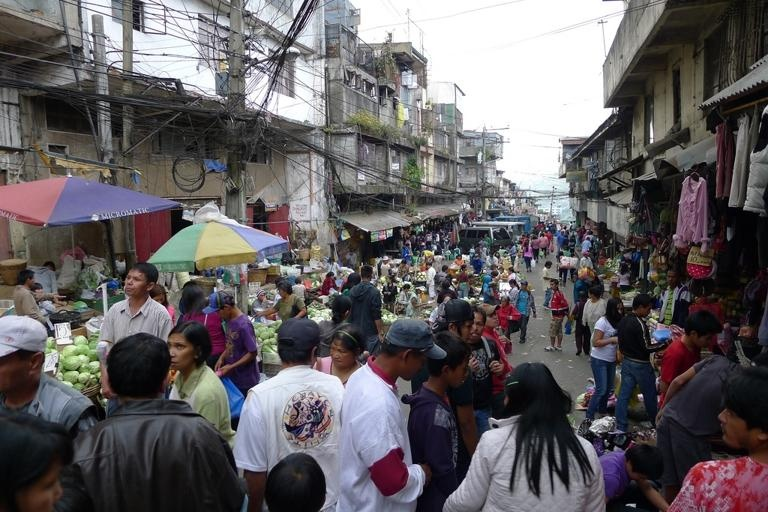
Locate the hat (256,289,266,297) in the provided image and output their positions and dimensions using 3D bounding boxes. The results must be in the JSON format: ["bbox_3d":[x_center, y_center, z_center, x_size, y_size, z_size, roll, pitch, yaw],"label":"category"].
[{"bbox_3d":[-2.730,0.830,14.425,0.182,0.214,0.217,-2,-4,-16],"label":"hat"}]

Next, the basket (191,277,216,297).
[{"bbox_3d":[-3.316,0.573,11.968,0.351,0.242,0.199,-2,17,3],"label":"basket"}]

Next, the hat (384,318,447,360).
[{"bbox_3d":[0.299,0.850,6.476,0.533,0.290,0.350,14,14,-13],"label":"hat"}]

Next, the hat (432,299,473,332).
[{"bbox_3d":[0.805,0.688,7.727,0.433,0.269,0.314,-15,12,12],"label":"hat"}]

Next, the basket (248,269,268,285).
[{"bbox_3d":[-3.139,0.501,16.160,0.452,0.429,0.642,-1,-5,-4],"label":"basket"}]

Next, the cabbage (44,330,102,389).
[{"bbox_3d":[-4.374,1.497,9.125,0.672,0.568,1.146,2,3,-28],"label":"cabbage"}]

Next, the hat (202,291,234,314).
[{"bbox_3d":[-2.199,0.614,8.703,0.376,0.231,0.277,-3,20,11],"label":"hat"}]

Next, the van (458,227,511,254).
[{"bbox_3d":[4.892,-0.680,32.337,2.065,1.250,1.372,2,5,28],"label":"van"}]

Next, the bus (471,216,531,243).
[{"bbox_3d":[6.834,-1.472,37.178,3.347,1.750,2.566,0,7,25],"label":"bus"}]
